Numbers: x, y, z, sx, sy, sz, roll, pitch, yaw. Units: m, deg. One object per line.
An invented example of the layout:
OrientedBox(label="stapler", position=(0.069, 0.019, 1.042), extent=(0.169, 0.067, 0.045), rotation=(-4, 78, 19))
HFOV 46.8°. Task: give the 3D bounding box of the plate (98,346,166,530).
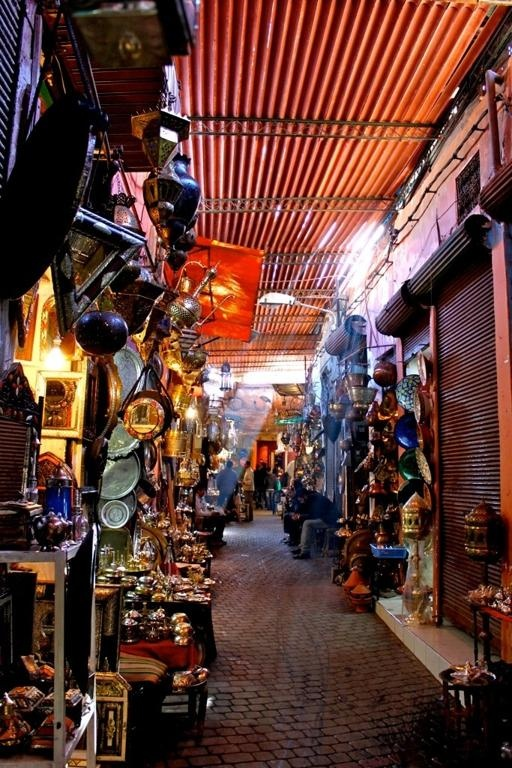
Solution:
OrientedBox(label="plate", position=(-0.889, 0.451, 4.132), extent=(0.146, 1.030, 0.701), rotation=(-5, 26, -37))

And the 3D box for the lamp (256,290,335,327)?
OrientedBox(label="lamp", position=(0.845, -1.622, 12.468), extent=(1.799, 0.324, 0.650), rotation=(1, 32, -35))

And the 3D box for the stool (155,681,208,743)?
OrientedBox(label="stool", position=(-0.354, 1.749, 3.251), extent=(0.320, 0.377, 0.325), rotation=(2, -26, -2))

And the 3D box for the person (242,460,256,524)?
OrientedBox(label="person", position=(-0.245, 3.198, 17.783), extent=(0.389, 1.756, 0.674), rotation=(3, -12, -1))

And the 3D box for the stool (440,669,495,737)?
OrientedBox(label="stool", position=(0.985, 1.494, 2.757), extent=(0.233, 0.267, 0.227), rotation=(-3, -4, 40))

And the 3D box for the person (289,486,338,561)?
OrientedBox(label="person", position=(0.913, 2.367, 10.056), extent=(0.599, 1.138, 1.084), rotation=(7, -13, -22))

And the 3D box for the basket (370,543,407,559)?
OrientedBox(label="basket", position=(1.342, 1.701, 5.989), extent=(0.346, 0.153, 0.471), rotation=(2, -12, 2))

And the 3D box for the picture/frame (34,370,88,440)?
OrientedBox(label="picture/frame", position=(-0.972, 0.091, 2.920), extent=(0.322, 0.460, 0.045), rotation=(1, 6, -11))

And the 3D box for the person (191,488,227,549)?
OrientedBox(label="person", position=(-0.830, 2.173, 10.032), extent=(0.482, 0.935, 0.456), rotation=(9, 12, 16))

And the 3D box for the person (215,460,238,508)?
OrientedBox(label="person", position=(-0.715, 2.482, 14.583), extent=(0.480, 1.522, 0.451), rotation=(6, 32, -1))
